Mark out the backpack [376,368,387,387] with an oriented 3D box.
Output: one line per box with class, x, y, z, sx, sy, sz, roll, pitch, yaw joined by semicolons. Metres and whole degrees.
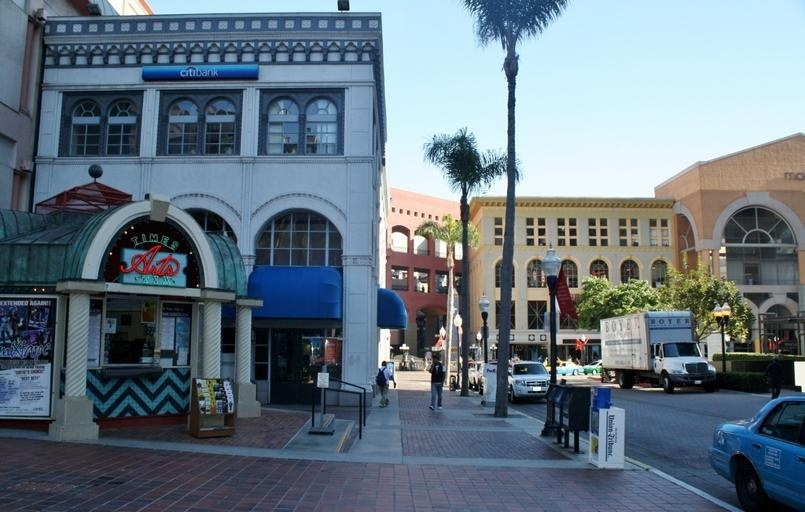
backpack;-0.901;5.415;31.921;0.392;0.835;0.468;1;-8;-5
